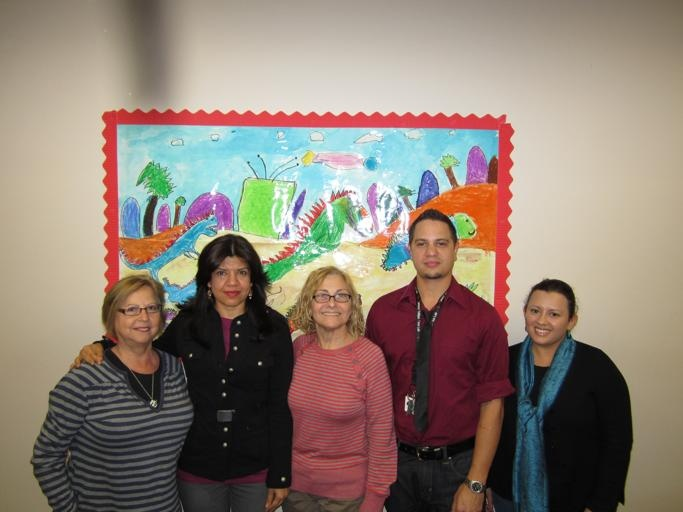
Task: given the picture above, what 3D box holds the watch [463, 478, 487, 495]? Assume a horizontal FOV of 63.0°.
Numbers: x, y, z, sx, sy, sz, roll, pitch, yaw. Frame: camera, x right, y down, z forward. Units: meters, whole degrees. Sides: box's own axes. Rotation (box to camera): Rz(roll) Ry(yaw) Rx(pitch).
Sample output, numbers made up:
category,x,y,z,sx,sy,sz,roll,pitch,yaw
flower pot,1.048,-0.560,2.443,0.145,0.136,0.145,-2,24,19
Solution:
category,x,y,z,sx,sy,sz,roll,pitch,yaw
watch,0.711,1.233,2.979,0.113,0.063,0.096,4,-17,29
